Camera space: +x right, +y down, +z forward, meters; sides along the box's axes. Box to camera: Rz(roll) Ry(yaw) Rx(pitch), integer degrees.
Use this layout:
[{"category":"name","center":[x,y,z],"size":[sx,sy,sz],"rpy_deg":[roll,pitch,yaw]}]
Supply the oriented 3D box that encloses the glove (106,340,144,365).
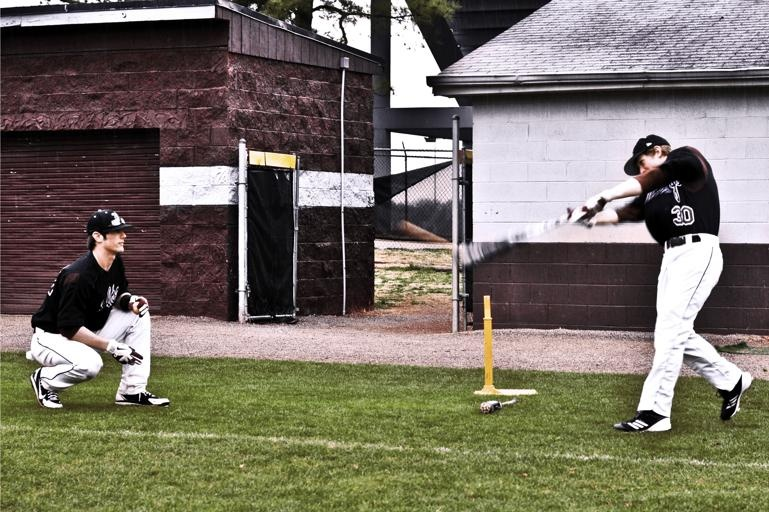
[{"category":"glove","center":[-3.327,1.240,18.434],"size":[0.458,0.241,0.163],"rpy_deg":[32,-14,-22]}]

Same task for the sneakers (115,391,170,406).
[{"category":"sneakers","center":[-3.130,1.846,18.859],"size":[0.750,0.242,0.227],"rpy_deg":[-1,-4,2]}]

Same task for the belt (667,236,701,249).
[{"category":"belt","center":[3.771,-0.177,18.141],"size":[0.421,0.165,0.061],"rpy_deg":[1,1,20]}]

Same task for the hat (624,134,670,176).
[{"category":"hat","center":[3.312,-1.315,18.691],"size":[0.669,0.332,0.471],"rpy_deg":[-28,2,14]}]

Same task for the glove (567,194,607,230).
[{"category":"glove","center":[2.578,-0.566,18.283],"size":[0.507,0.385,0.733],"rpy_deg":[1,1,6]}]

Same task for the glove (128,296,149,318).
[{"category":"glove","center":[-3.208,0.642,18.762],"size":[0.217,0.120,0.279],"rpy_deg":[35,7,-39]}]

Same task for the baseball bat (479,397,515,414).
[{"category":"baseball bat","center":[1.526,1.934,18.938],"size":[0.575,0.151,0.157],"rpy_deg":[-4,34,-45]}]

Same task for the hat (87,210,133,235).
[{"category":"hat","center":[-3.513,-0.423,18.567],"size":[0.509,0.245,0.327],"rpy_deg":[-9,7,-2]}]

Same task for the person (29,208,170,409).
[{"category":"person","center":[-3.722,0.694,18.560],"size":[1.584,2.552,0.718],"rpy_deg":[1,1,-12]}]
